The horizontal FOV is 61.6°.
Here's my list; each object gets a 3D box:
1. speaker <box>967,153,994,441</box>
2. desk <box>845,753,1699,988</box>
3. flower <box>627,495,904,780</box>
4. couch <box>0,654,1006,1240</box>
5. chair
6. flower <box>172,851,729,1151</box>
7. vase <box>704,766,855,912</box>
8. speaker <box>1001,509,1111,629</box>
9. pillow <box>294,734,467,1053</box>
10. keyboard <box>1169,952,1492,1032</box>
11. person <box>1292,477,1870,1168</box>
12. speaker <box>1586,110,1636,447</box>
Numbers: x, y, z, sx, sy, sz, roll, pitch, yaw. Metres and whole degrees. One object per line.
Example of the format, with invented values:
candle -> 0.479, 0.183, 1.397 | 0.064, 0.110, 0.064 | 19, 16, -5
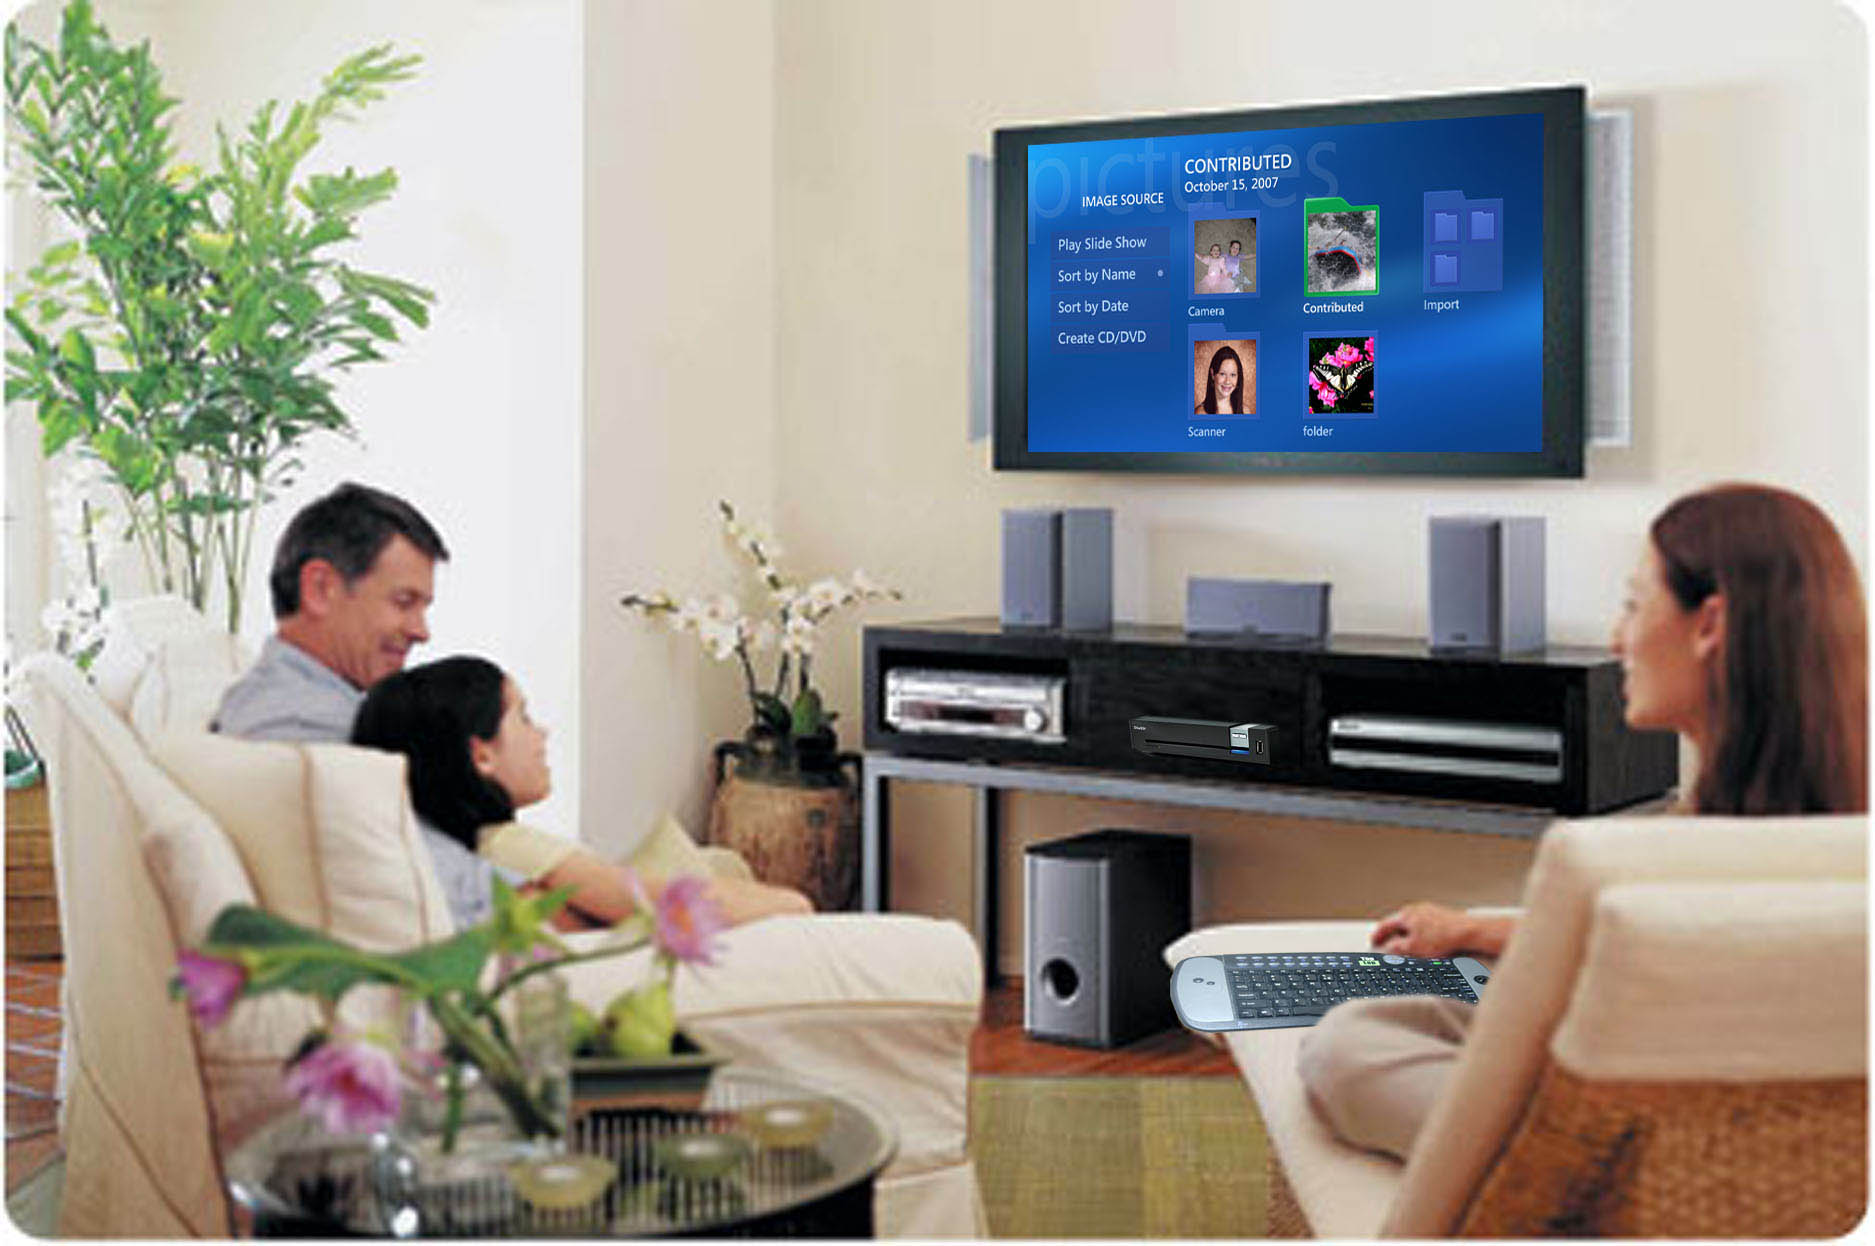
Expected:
speaker -> 0.108, -0.806, 3.882 | 0.069, 0.688, 0.060 | -1, 5, 1
desk -> 0.674, 0.682, 3.630 | 1.630, 0.718, 0.467 | -1, 0, 31
flower -> -0.340, 0.056, 3.941 | 0.615, 0.619, 0.296 | 17, 8, 37
couch -> -0.685, 0.460, 2.412 | 1.077, 0.632, 1.034 | 0, -2, -17
chair -> 0.697, 0.454, 1.842 | 0.463, 0.257, 0.623 | -1, -2, -5
flower -> -0.690, 0.493, 2.167 | 0.458, 0.215, 0.442 | -2, -1, 16
vase -> -0.355, 0.549, 4.006 | 0.374, 0.318, 0.342 | 2, 4, -13
speaker -> 0.284, -0.129, 3.705 | 0.291, 0.294, 0.268 | 2, 5, 32
pillow -> -0.826, 0.377, 2.286 | 0.138, 0.354, 0.360 | -7, -5, 9
keyboard -> 0.568, 0.530, 2.306 | 0.384, 0.034, 0.187 | -2, 9, 1
person -> 0.982, 0.248, 2.371 | 0.533, 0.886, 1.014 | 3, -4, -35
speaker -> 1.466, -0.740, 3.408 | 0.103, 0.711, 0.027 | 1, 6, 21
